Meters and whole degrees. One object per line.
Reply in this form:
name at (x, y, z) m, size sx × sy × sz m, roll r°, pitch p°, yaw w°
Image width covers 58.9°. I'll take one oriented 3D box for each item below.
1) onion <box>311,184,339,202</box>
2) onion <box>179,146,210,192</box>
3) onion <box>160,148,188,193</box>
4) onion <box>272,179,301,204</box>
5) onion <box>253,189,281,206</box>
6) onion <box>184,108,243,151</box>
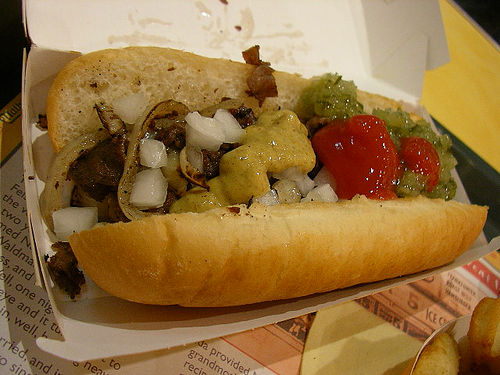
onion at (0.458, 0.030, 2.712) m, size 0.119 × 0.118 × 0.119 m, roll 54°, pitch 21°, yaw 6°
onion at (-0.334, -0.096, 2.466) m, size 0.221 × 0.042 × 0.144 m, roll 54°, pitch 29°, yaw 8°
onion at (-0.452, -0.087, 2.547) m, size 0.145 × 0.073 × 0.234 m, roll -20°, pitch 84°, yaw -32°
onion at (0.207, 0.045, 2.680) m, size 0.143 × 0.079 × 0.148 m, roll -32°, pitch 90°, yaw -27°
onion at (0.104, 0.058, 2.489) m, size 0.122 × 0.029 × 0.091 m, roll 7°, pitch 69°, yaw -38°
onion at (-0.219, -0.327, 2.608) m, size 0.288 × 0.126 × 0.233 m, roll -20°, pitch 74°, yaw -42°
